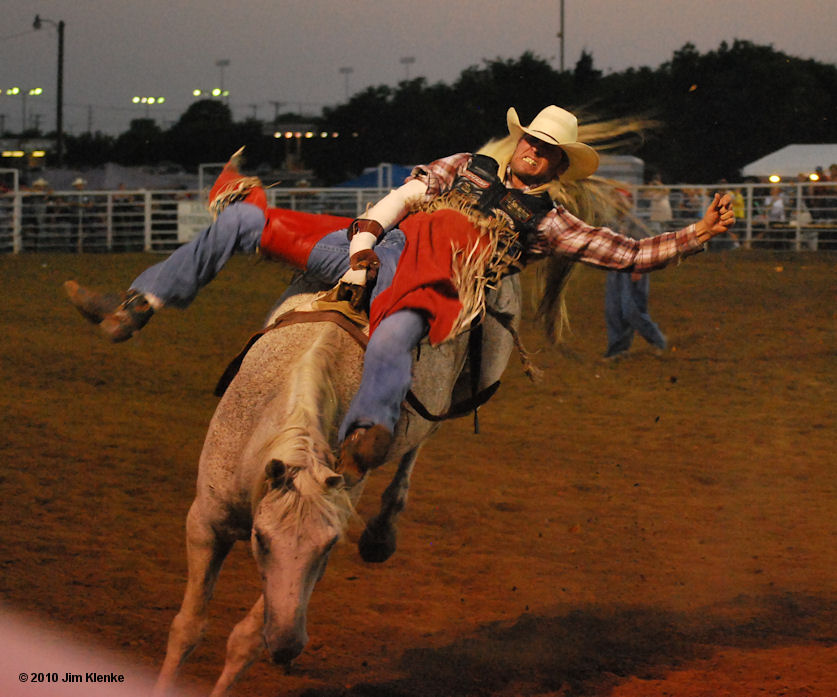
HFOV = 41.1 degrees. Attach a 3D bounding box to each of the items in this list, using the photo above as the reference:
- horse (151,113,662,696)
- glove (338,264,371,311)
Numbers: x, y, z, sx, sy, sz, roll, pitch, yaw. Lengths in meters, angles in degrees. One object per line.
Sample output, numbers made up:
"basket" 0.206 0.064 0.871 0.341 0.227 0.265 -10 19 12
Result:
"horse" -0.239 0.349 5.189 1.405 2.638 2.528 8 15 17
"glove" -0.276 -0.284 5.107 0.146 0.209 0.063 29 -17 11
